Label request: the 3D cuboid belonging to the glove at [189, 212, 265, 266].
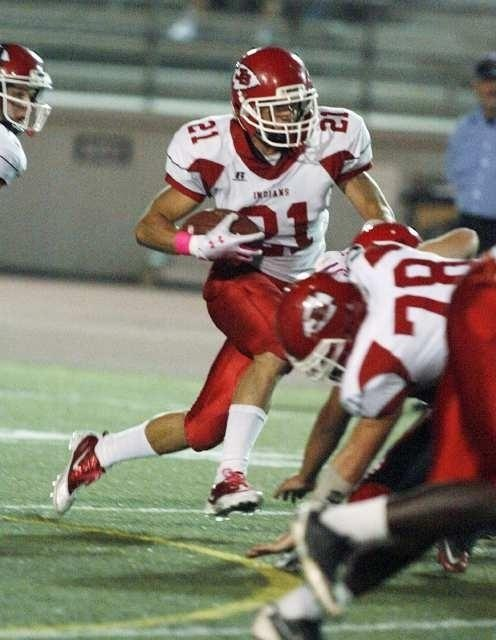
[{"bbox_3d":[-0.047,-0.237,2.164,0.158,0.049,0.206,12,-2,37],"label":"glove"}]
